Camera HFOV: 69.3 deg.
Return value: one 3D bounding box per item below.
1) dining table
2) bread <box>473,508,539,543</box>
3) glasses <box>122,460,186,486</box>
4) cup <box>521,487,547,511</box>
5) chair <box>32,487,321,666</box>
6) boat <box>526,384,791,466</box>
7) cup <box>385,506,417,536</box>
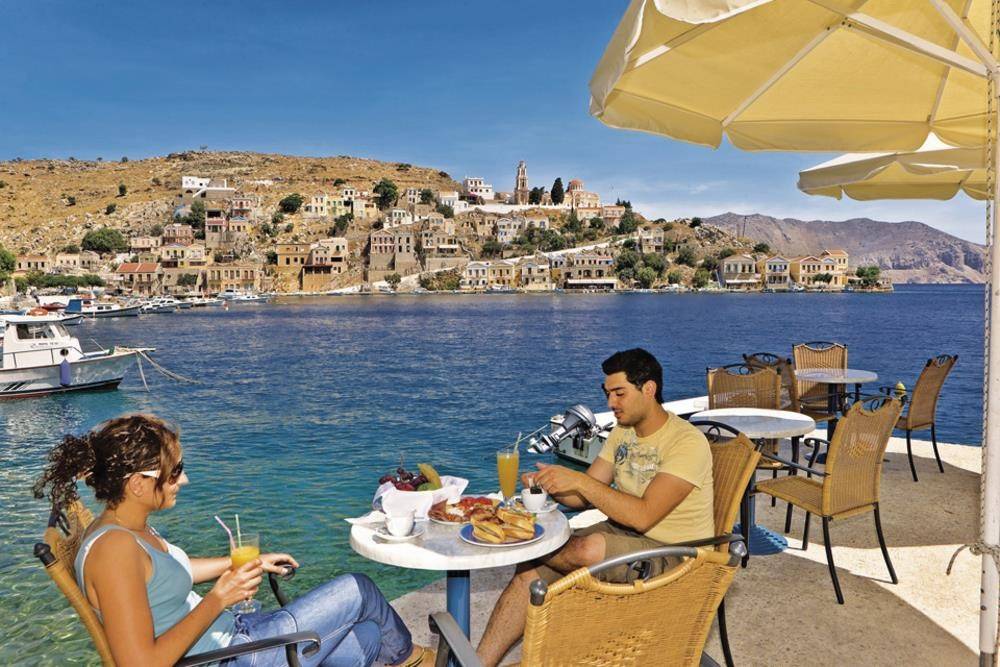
[{"bbox_3d":[-0.283,1.488,4.700,1.037,0.660,0.966,0,-2,5],"label":"dining table"},{"bbox_3d":[0.033,1.172,4.435,0.260,0.083,0.222,-3,10,-18],"label":"bread"},{"bbox_3d":[-1.868,0.778,3.968,0.224,0.066,0.176,1,0,-12],"label":"glasses"},{"bbox_3d":[0.229,1.098,4.826,0.157,0.113,0.156,-1,-5,0],"label":"cup"},{"bbox_3d":[-1.885,1.429,3.920,1.463,0.915,0.517,1,11,11],"label":"chair"},{"bbox_3d":[1.802,1.512,11.499,2.796,0.866,1.900,-2,-4,-18],"label":"boat"},{"bbox_3d":[-0.624,1.167,4.462,0.141,0.107,0.166,-2,-7,6],"label":"cup"}]
